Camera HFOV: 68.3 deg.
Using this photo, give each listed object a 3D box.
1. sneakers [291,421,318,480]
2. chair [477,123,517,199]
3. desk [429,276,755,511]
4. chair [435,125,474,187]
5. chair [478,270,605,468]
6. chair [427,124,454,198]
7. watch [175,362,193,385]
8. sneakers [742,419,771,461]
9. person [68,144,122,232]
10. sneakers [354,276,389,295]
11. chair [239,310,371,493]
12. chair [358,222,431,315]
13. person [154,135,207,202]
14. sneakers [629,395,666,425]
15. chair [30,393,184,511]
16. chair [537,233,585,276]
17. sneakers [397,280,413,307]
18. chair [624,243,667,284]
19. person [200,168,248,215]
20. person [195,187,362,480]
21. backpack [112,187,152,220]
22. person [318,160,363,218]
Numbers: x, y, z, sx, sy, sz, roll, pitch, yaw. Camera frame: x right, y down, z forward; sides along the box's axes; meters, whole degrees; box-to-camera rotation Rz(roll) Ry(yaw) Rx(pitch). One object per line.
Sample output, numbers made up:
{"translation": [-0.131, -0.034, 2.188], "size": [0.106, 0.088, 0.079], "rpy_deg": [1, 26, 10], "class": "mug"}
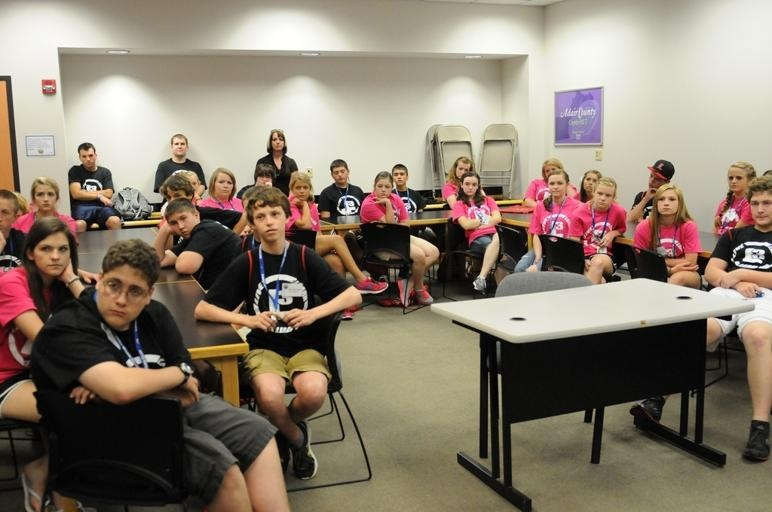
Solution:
{"translation": [-0.498, 1.164, 3.365], "size": [0.126, 0.369, 0.145], "rpy_deg": [-11, -19, 1], "class": "sneakers"}
{"translation": [1.889, -1.578, 9.722], "size": [0.623, 1.214, 0.760], "rpy_deg": [1, 15, 14], "class": "chair"}
{"translation": [1.118, 0.540, 3.508], "size": [1.969, 1.287, 1.081], "rpy_deg": [-6, 12, -24], "class": "desk"}
{"translation": [1.328, -1.783, 9.940], "size": [0.724, 1.274, 0.898], "rpy_deg": [-2, 5, -17], "class": "chair"}
{"translation": [0.965, 0.432, 3.805], "size": [0.572, 0.870, 0.570], "rpy_deg": [-1, 1, -7], "class": "chair"}
{"translation": [0.889, -1.663, 9.538], "size": [0.479, 1.072, 0.234], "rpy_deg": [-3, 13, -6], "class": "chair"}
{"translation": [-0.943, 0.547, 2.694], "size": [0.063, 0.086, 0.082], "rpy_deg": [-9, -35, -14], "class": "watch"}
{"translation": [2.212, 1.109, 3.427], "size": [0.106, 0.146, 0.304], "rpy_deg": [-3, -4, 35], "class": "sneakers"}
{"translation": [-3.920, -0.770, 7.743], "size": [0.562, 1.465, 1.033], "rpy_deg": [-4, 13, -34], "class": "person"}
{"translation": [-0.168, 0.343, 6.779], "size": [0.342, 0.157, 0.182], "rpy_deg": [2, 5, -8], "class": "sneakers"}
{"translation": [-0.519, 0.793, 3.716], "size": [0.807, 1.428, 0.775], "rpy_deg": [0, 3, -14], "class": "chair"}
{"translation": [-0.007, 0.012, 6.454], "size": [0.598, 0.961, 0.720], "rpy_deg": [6, 15, 17], "class": "chair"}
{"translation": [-2.933, -1.191, 8.199], "size": [0.693, 1.125, 0.607], "rpy_deg": [-3, -3, -29], "class": "person"}
{"translation": [1.792, 1.029, 3.847], "size": [0.342, 0.152, 0.143], "rpy_deg": [15, -5, -37], "class": "sneakers"}
{"translation": [-1.166, 0.779, 2.518], "size": [0.541, 0.431, 0.465], "rpy_deg": [1, 1, -7], "class": "chair"}
{"translation": [1.628, -0.017, 5.394], "size": [0.381, 0.521, 0.336], "rpy_deg": [-18, 21, -40], "class": "chair"}
{"translation": [0.208, 0.393, 6.432], "size": [0.126, 0.346, 0.122], "rpy_deg": [-6, -11, 36], "class": "sneakers"}
{"translation": [2.113, 0.061, 4.697], "size": [0.279, 0.375, 0.286], "rpy_deg": [-4, 11, -10], "class": "chair"}
{"translation": [-1.723, -0.650, 5.955], "size": [0.326, 0.470, 0.695], "rpy_deg": [-5, 1, 44], "class": "person"}
{"translation": [-0.614, 0.413, 3.321], "size": [0.909, 1.582, 0.823], "rpy_deg": [-4, 4, -11], "class": "person"}
{"translation": [-3.550, -0.886, 8.018], "size": [0.488, 0.256, 0.699], "rpy_deg": [-10, 46, -15], "class": "backpack"}
{"translation": [-0.558, -0.743, 7.396], "size": [0.594, 0.983, 0.301], "rpy_deg": [-5, -16, -14], "class": "person"}
